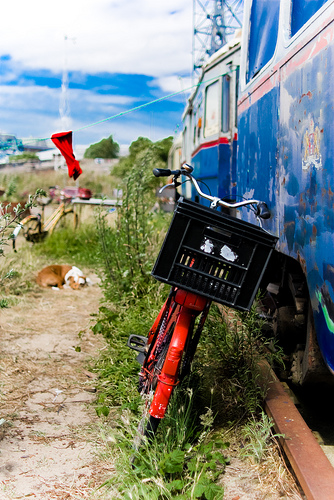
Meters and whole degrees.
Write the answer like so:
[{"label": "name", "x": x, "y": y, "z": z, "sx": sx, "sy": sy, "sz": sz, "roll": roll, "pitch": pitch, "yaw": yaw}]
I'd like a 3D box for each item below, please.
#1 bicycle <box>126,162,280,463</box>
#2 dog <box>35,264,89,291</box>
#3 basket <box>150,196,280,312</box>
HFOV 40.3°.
[{"label": "bicycle", "x": 0.202, "y": 0.140, "z": 2.635, "sx": 0.571, "sy": 1.190, "sz": 1.775, "roll": 22, "pitch": 10, "yaw": -5}, {"label": "dog", "x": -1.527, "y": 0.391, "z": 6.603, "sx": 0.587, "sy": 0.317, "sz": 0.337, "roll": 0, "pitch": 0, "yaw": -25}, {"label": "basket", "x": 0.207, "y": -0.009, "z": 2.090, "sx": 0.483, "sy": 0.381, "sz": 0.319, "roll": 19, "pitch": 18, "yaw": -5}]
